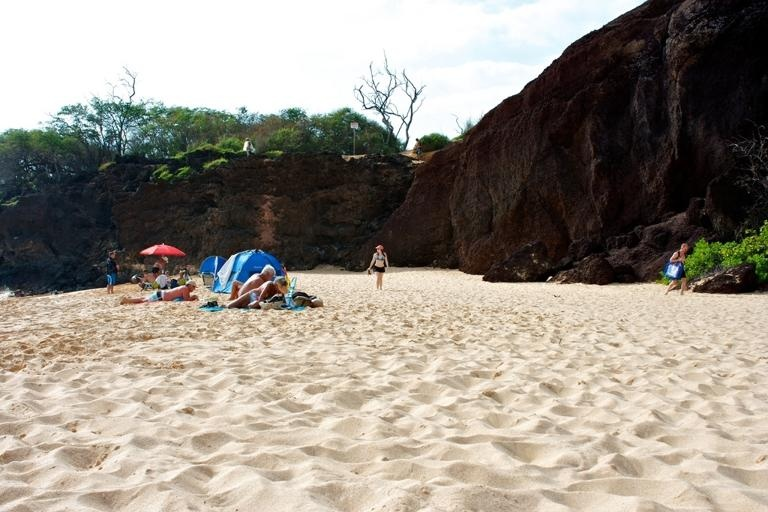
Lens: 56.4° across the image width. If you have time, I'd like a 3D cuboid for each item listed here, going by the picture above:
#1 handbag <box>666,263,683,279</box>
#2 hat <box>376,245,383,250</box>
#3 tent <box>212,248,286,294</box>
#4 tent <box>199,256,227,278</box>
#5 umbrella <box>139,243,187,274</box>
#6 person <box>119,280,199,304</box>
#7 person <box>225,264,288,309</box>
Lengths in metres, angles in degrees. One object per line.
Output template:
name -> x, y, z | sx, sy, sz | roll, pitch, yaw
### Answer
handbag -> 7.904, 0.382, 19.371 | 0.241, 0.442, 0.309 | -11, 18, -27
hat -> -0.139, -0.279, 21.957 | 0.176, 0.074, 0.264 | -1, 0, -16
tent -> -3.989, 0.356, 21.417 | 1.815, 0.850, 1.492 | -9, 13, -31
tent -> -6.350, 0.342, 26.349 | 0.963, 0.665, 0.970 | 0, 7, -1
umbrella -> -9.359, 0.121, 30.506 | 1.311, 0.902, 1.307 | -1, 8, -24
person -> -5.854, 1.023, 18.642 | 1.900, 0.590, 0.792 | -1, 5, -18
person -> -3.022, 0.734, 17.024 | 1.422, 0.941, 0.881 | 1, 6, -5
